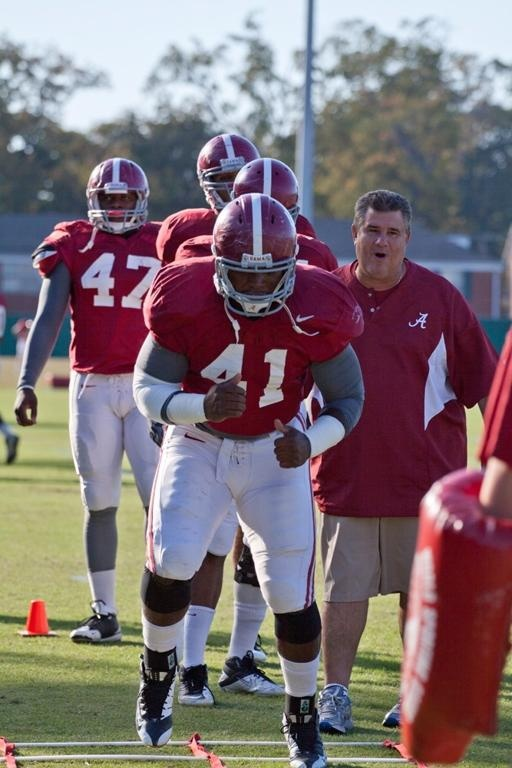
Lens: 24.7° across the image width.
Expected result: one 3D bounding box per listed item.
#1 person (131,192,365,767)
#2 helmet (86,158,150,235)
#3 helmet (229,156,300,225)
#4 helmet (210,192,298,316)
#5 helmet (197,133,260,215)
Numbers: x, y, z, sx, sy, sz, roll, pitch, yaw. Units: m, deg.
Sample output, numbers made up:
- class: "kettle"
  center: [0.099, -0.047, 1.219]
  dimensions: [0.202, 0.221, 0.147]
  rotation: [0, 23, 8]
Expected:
- class: "person"
  center: [-0.047, 0.252, 3.387]
  dimensions: [0.671, 1.626, 0.449]
  rotation: [3, 5, 4]
- class: "helmet"
  center: [-0.582, -0.808, 4.930]
  dimensions: [0.281, 0.270, 0.342]
  rotation: [0, 18, 1]
- class: "helmet"
  center: [0.028, -0.695, 4.085]
  dimensions: [0.218, 0.251, 0.264]
  rotation: [-4, -29, -7]
- class: "helmet"
  center: [-0.009, -0.378, 3.314]
  dimensions: [0.227, 0.351, 0.200]
  rotation: [3, 5, 1]
- class: "helmet"
  center: [-0.150, -0.825, 4.595]
  dimensions: [0.294, 0.330, 0.329]
  rotation: [-3, 38, -11]
